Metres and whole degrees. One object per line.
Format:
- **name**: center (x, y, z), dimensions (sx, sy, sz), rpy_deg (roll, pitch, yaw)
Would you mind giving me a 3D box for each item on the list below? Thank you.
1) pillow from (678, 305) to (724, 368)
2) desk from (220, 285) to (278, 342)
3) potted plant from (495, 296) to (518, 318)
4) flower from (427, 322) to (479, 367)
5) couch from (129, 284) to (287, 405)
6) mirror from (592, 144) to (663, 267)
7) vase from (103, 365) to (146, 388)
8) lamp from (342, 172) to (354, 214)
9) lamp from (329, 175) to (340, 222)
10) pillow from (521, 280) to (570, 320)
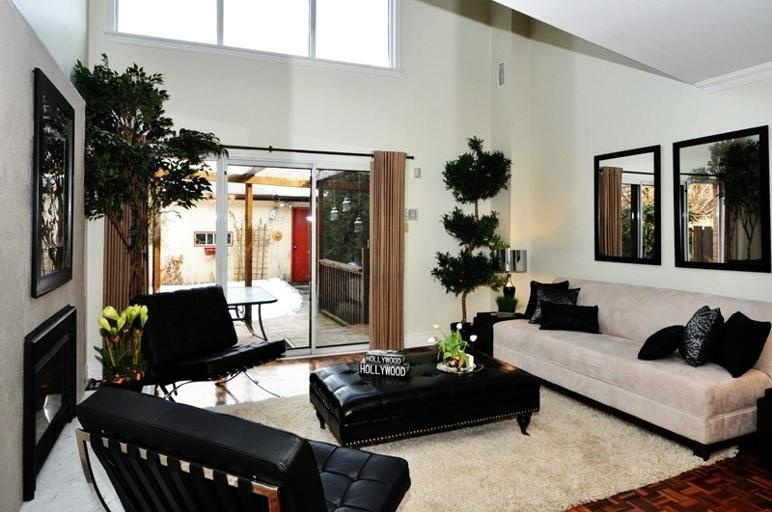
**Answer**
- **pillow**: center (2.751, 0.703, 4.794), dimensions (0.164, 0.570, 0.288), rpy_deg (25, 0, -33)
- **desk**: center (-1.884, 0.713, 6.870), dimensions (0.611, 0.613, 0.629), rpy_deg (3, 15, -34)
- **potted plant**: center (1.529, 0.646, 6.916), dimensions (0.237, 0.224, 0.237), rpy_deg (2, -8, -11)
- **flower**: center (0.705, 0.929, 5.694), dimensions (0.555, 0.553, 0.526), rpy_deg (-3, -1, 37)
- **couch**: center (-1.937, 0.757, 5.511), dimensions (1.031, 1.188, 1.204), rpy_deg (-33, -12, 26)
- **mirror**: center (2.754, -0.584, 6.221), dimensions (0.198, 1.364, 1.000), rpy_deg (-9, 16, -32)
- **vase**: center (-2.250, 1.052, 4.683), dimensions (0.216, 0.167, 0.224), rpy_deg (2, -5, -10)
- **lamp**: center (-0.501, -0.835, 7.147), dimensions (0.186, 0.506, 0.085), rpy_deg (-3, 14, -12)
- **lamp**: center (-0.682, -0.748, 7.086), dimensions (0.138, 0.579, 0.090), rpy_deg (-5, 14, -17)
- **pillow**: center (1.848, 0.521, 6.516), dimensions (0.439, 0.477, 0.182), rpy_deg (3, 7, -15)
